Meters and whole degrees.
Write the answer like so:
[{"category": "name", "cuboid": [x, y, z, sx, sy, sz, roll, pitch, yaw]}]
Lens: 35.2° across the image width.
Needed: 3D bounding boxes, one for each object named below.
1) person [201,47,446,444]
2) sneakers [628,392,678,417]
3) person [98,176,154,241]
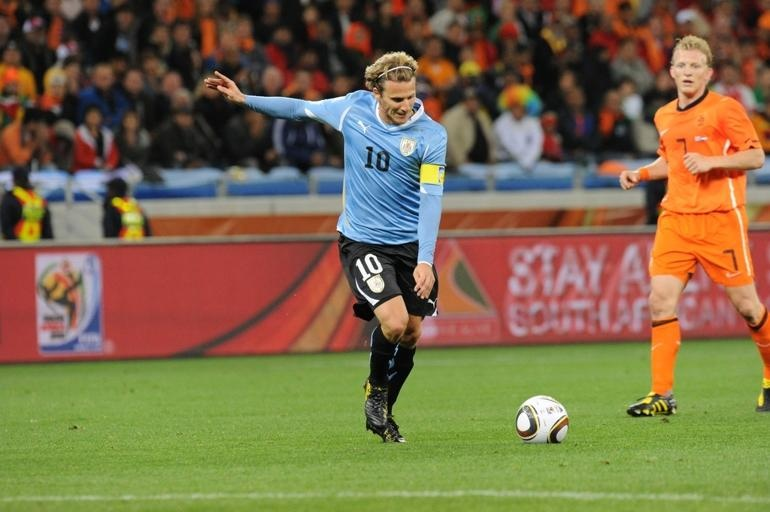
[{"category": "person", "cuboid": [-0.079, -0.071, 11.786, 1.497, 3.682, 0.667, 1, 6, 36]}, {"category": "sneakers", "cuboid": [2.709, 1.516, 12.288, 0.556, 0.240, 0.204, 0, -4, -3]}, {"category": "person", "cuboid": [-3.328, -0.494, 15.859, 0.450, 0.851, 0.342, -9, 46, -23]}]
